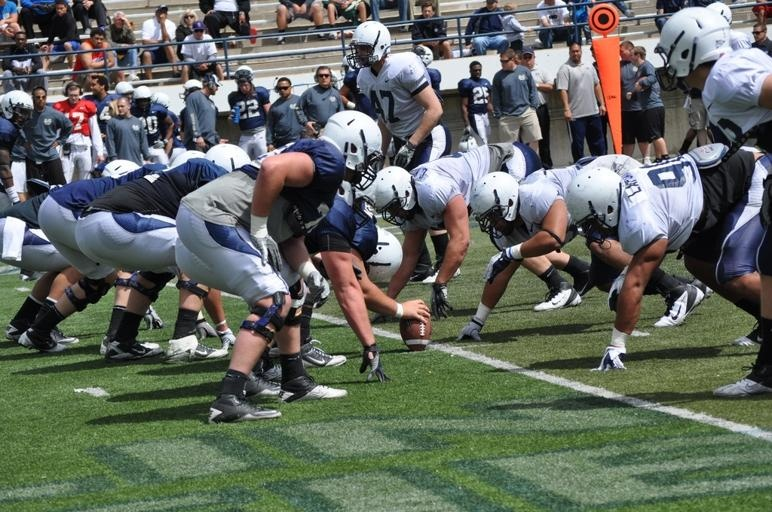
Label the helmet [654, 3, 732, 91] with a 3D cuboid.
[{"bbox_3d":[2.096,-1.468,7.098,0.557,0.483,0.428,-24,7,28],"label":"helmet"}]

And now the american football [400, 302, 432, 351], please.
[{"bbox_3d":[0.260,0.561,8.182,0.283,0.361,0.242,-2,11,14],"label":"american football"}]

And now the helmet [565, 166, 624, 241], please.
[{"bbox_3d":[1.541,-0.389,7.513,0.421,0.506,0.236,1,15,21],"label":"helmet"}]
